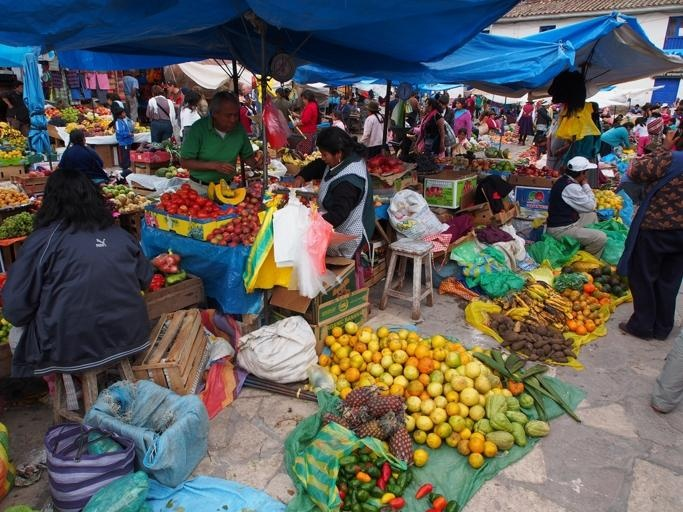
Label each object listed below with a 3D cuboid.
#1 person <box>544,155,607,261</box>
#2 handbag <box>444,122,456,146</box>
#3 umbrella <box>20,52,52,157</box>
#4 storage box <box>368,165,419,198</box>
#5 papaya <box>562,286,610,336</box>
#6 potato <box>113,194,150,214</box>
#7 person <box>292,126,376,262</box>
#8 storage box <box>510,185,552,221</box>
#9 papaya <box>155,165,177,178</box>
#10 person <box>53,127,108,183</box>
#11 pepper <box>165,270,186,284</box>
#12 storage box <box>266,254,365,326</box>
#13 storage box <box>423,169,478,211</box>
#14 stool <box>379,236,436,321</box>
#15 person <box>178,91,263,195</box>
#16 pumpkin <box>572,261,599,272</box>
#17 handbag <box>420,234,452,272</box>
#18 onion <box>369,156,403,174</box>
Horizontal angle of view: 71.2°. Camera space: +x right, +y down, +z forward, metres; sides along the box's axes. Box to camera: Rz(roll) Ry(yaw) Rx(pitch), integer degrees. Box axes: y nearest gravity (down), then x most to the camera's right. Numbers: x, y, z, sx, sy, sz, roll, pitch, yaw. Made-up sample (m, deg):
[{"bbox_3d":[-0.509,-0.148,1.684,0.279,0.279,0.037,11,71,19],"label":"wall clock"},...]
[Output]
[{"bbox_3d":[3.584,-0.758,7.155,0.889,1.404,0.468,12,21,25],"label":"person"},{"bbox_3d":[2.523,-2.804,11.067,0.227,0.505,0.649,10,19,20],"label":"handbag"},{"bbox_3d":[-5.816,-2.849,9.173,0.477,1.827,0.383,30,31,35],"label":"umbrella"},{"bbox_3d":[0.763,-1.055,6.944,0.554,0.290,0.763,31,48,31],"label":"storage box"},{"bbox_3d":[3.078,0.675,5.991,0.606,0.579,0.508,13,22,31],"label":"papaya"},{"bbox_3d":[-3.142,-0.771,7.125,0.480,0.138,0.408,26,34,33],"label":"potato"},{"bbox_3d":[-0.006,-0.710,5.436,0.729,1.448,0.746,-10,23,-39],"label":"person"},{"bbox_3d":[3.544,-1.018,8.905,0.689,0.530,0.503,7,19,27],"label":"storage box"},{"bbox_3d":[-3.374,-1.618,9.221,0.388,0.205,0.285,-3,22,11],"label":"papaya"},{"bbox_3d":[-3.955,-1.454,7.306,0.693,0.847,0.508,0,19,-14],"label":"person"},{"bbox_3d":[-1.593,0.205,4.666,0.136,0.115,0.196,-21,-8,31],"label":"pepper"},{"bbox_3d":[-0.192,0.415,4.958,1.097,0.752,0.578,-1,19,-11],"label":"storage box"},{"bbox_3d":[1.754,-1.045,7.552,0.555,0.435,0.958,11,19,37],"label":"storage box"},{"bbox_3d":[0.842,0.286,6.079,0.714,0.946,0.711,12,29,25],"label":"stool"},{"bbox_3d":[-1.414,-1.306,5.653,0.785,1.299,0.824,-5,19,-24],"label":"person"},{"bbox_3d":[3.509,0.135,6.864,0.174,0.124,0.226,-12,12,-33],"label":"pumpkin"},{"bbox_3d":[1.315,-0.047,6.432,0.441,0.462,0.109,5,-5,5],"label":"handbag"},{"bbox_3d":[0.599,-1.319,6.921,0.329,0.124,0.414,-15,24,-37],"label":"onion"}]
